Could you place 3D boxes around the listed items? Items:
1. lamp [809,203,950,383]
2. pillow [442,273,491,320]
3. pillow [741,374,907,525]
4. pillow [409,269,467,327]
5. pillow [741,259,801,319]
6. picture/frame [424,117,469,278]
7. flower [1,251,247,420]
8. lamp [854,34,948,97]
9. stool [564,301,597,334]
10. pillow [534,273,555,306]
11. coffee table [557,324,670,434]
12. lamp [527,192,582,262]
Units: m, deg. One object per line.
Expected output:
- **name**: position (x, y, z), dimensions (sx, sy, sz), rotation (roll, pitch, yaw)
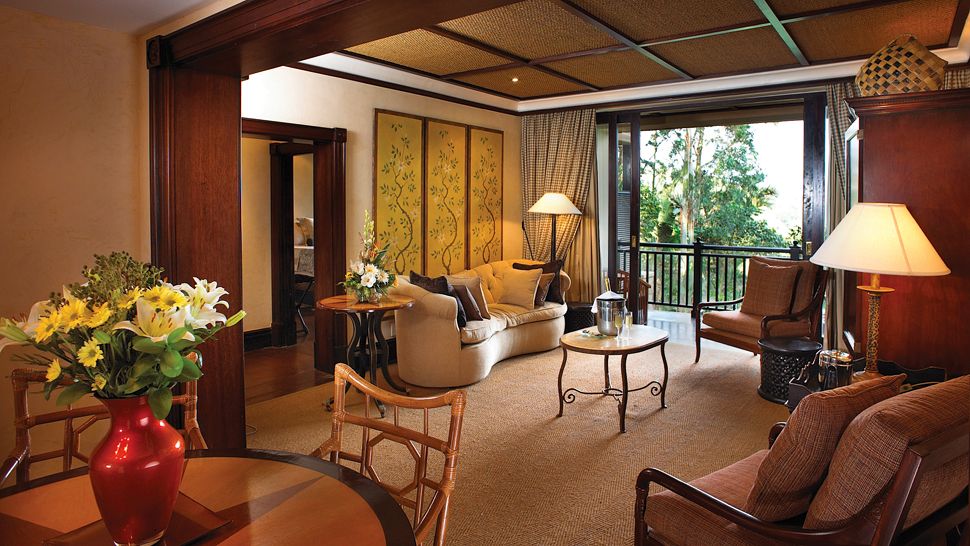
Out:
- **lamp**: position (2.617, 0.144, 4.011), dimensions (0.653, 1.205, 0.434), rotation (-3, 9, -11)
- **pillow**: position (-0.141, 0.258, 6.332), dimensions (0.147, 0.453, 0.483), rotation (-19, 12, -27)
- **pillow**: position (1.811, 0.945, 3.160), dimensions (0.918, 0.682, 0.341), rotation (1, 12, -43)
- **pillow**: position (-0.481, 0.279, 6.126), dimensions (0.588, 0.512, 0.410), rotation (-1, 9, -1)
- **pillow**: position (3.004, 0.166, 6.296), dimensions (0.185, 0.537, 0.614), rotation (22, -13, -35)
- **picture/frame**: position (-0.475, -0.918, 7.417), dimensions (0.142, 1.871, 0.833), rotation (5, 11, 33)
- **flower**: position (-1.585, 0.249, 2.828), dimensions (0.914, 0.583, 0.871), rotation (-2, -2, 2)
- **lamp**: position (2.965, -1.412, 4.307), dimensions (0.565, 0.254, 0.447), rotation (-3, -14, 39)
- **stool**: position (1.193, 0.546, 7.668), dimensions (0.400, 0.400, 0.376), rotation (-3, 9, -15)
- **pillow**: position (0.797, 0.209, 7.343), dimensions (0.115, 0.334, 0.372), rotation (12, -6, 13)
- **coffee table**: position (1.126, 0.829, 5.606), dimensions (0.936, 0.746, 1.196), rotation (1, 2, 33)
- **lamp**: position (0.953, -0.600, 7.945), dimensions (0.609, 0.914, 0.685), rotation (0, 9, 9)
